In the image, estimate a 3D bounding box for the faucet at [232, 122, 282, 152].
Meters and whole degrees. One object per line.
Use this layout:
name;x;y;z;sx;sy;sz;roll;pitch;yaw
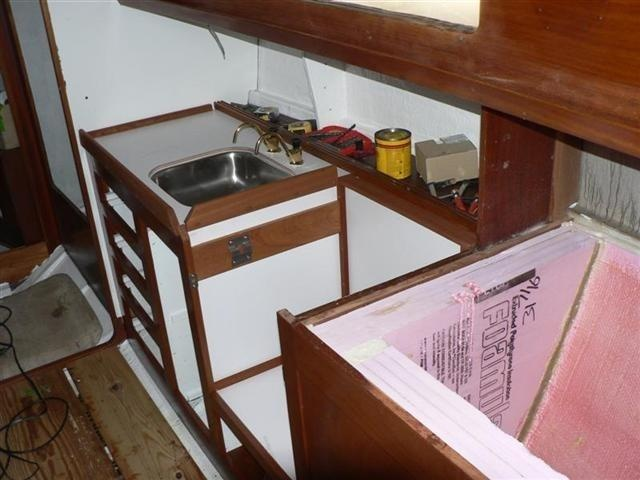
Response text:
faucet;-0.269;-0.447;2.112;0.118;0.084;0.141;26;51;28

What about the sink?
sink;-0.463;-0.292;2.103;0.413;0.129;0.324;-23;42;-29

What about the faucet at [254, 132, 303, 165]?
faucet;-0.178;-0.390;1.982;0.181;0.098;0.330;-9;29;-10

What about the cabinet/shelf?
cabinet/shelf;-0.737;0.259;2.096;0.467;0.883;0.917;-25;51;-27
